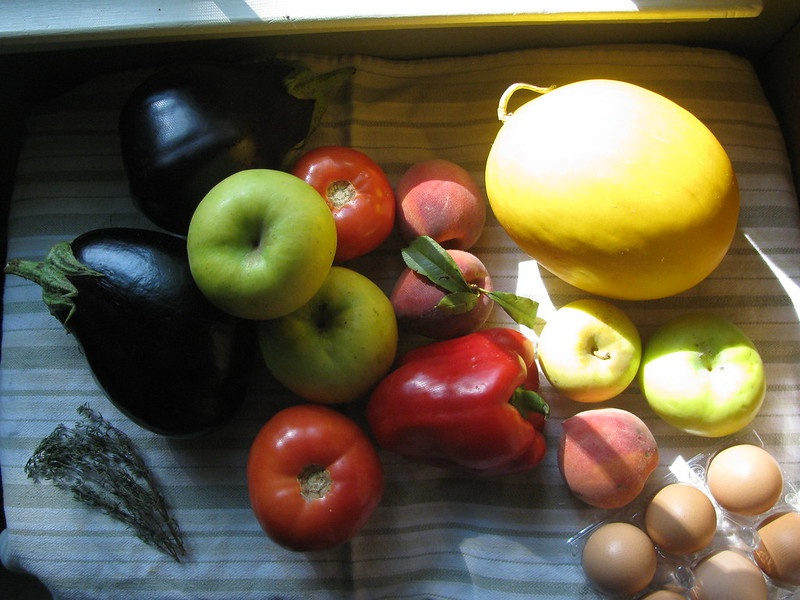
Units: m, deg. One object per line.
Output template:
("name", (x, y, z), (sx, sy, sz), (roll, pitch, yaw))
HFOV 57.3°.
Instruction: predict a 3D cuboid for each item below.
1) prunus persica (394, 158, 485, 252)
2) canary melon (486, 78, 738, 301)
("prunus persica", (0.063, -0.155, 1.166), (0.138, 0.071, 0.140), (-8, 65, -4))
("canary melon", (0.293, -0.206, 1.238), (0.462, 0.335, 0.312), (3, 45, 0))
